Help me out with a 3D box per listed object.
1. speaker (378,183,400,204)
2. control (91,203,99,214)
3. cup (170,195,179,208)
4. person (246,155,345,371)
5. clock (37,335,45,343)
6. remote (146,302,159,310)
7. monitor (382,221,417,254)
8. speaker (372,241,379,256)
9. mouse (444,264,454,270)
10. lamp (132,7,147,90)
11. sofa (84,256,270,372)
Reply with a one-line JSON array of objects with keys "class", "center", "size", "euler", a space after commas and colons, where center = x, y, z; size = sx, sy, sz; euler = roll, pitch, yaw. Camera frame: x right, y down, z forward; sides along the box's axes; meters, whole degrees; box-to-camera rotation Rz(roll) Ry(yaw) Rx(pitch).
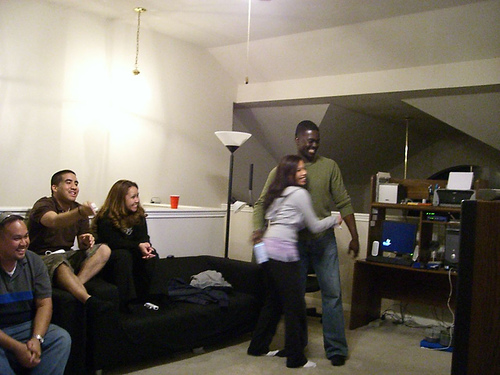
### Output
[{"class": "speaker", "center": [1.441, 0.061, 3.913], "size": [0.206, 0.199, 0.200], "euler": [2, 1, 11]}, {"class": "control", "center": [-1.292, 0.175, 3.100], "size": [0.041, 0.114, 0.081], "euler": [-17, 11, -37]}, {"class": "cup", "center": [-0.900, 0.162, 4.406], "size": [0.133, 0.141, 0.130], "euler": [0, -5, 0]}, {"class": "person", "center": [0.317, 0.573, 2.891], "size": [0.529, 1.632, 0.444], "euler": [1, 3, -19]}, {"class": "clock", "center": [-1.266, 0.918, 2.252], "size": [0.019, 0.055, 0.055], "euler": [2, 2, 12]}, {"class": "remote", "center": [-0.779, 0.948, 2.994], "size": [0.105, 0.041, 0.041], "euler": [21, 3, 21]}, {"class": "monitor", "center": [1.577, 0.535, 3.944], "size": [0.331, 0.313, 0.044], "euler": [5, -3, 33]}, {"class": "speaker", "center": [1.327, 0.641, 3.950], "size": [0.071, 0.131, 0.124], "euler": [2, 2, 18]}, {"class": "mouse", "center": [1.848, 0.741, 3.470], "size": [0.053, 0.034, 0.053], "euler": [-2, -5, 25]}, {"class": "lamp", "center": [-1.593, -1.948, 5.340], "size": [0.180, 0.959, 0.628], "euler": [1, 2, -17]}, {"class": "sofa", "center": [-0.685, 0.981, 3.208], "size": [1.553, 0.583, 0.770], "euler": [0, 3, -39]}]
